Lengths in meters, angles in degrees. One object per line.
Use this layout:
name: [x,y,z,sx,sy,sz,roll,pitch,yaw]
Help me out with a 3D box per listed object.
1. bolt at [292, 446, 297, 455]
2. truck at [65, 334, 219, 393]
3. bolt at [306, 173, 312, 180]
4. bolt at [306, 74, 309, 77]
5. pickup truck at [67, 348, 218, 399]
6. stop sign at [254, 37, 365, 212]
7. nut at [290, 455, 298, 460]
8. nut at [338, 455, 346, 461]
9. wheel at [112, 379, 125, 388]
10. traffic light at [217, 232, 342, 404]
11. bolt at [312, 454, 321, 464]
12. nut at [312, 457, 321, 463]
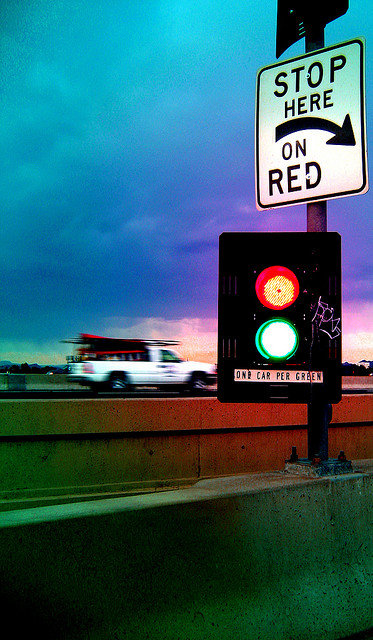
bolt: [0.648,0.784,3.365,0.019,0.048,0.121,10,0,10]
truck: [-1.343,1.261,16.019,3.859,1.937,2.150,-3,-2,-13]
bolt: [0.693,-0.811,3.169,0.008,0.035,0.037,11,0,-41]
bolt: [0.686,-1.378,3.164,0.015,0.017,0.004,3,7,9]
pickup truck: [-1.373,1.555,16.864,4.504,1.770,2.116,-1,-4,-14]
stop sign: [0.701,-1.071,3.158,0.739,0.946,0.162,11,0,40]
nut: [0.652,0.822,3.339,0.035,0.029,0.037,1,-7,2]
nut: [0.910,0.805,3.248,0.034,0.030,0.037,-2,-2,6]
wheel: [-1.967,1.828,15.939,0.369,0.245,0.052,12,-1,-11]
traffic light: [0.500,-0.033,2.899,0.767,1.184,0.144,0,-1,0]
bolt: [0.734,0.785,3.143,0.025,0.054,0.028,1,1,26]
nut: [0.735,0.778,3.126,0.034,0.026,0.020,1,-7,3]
